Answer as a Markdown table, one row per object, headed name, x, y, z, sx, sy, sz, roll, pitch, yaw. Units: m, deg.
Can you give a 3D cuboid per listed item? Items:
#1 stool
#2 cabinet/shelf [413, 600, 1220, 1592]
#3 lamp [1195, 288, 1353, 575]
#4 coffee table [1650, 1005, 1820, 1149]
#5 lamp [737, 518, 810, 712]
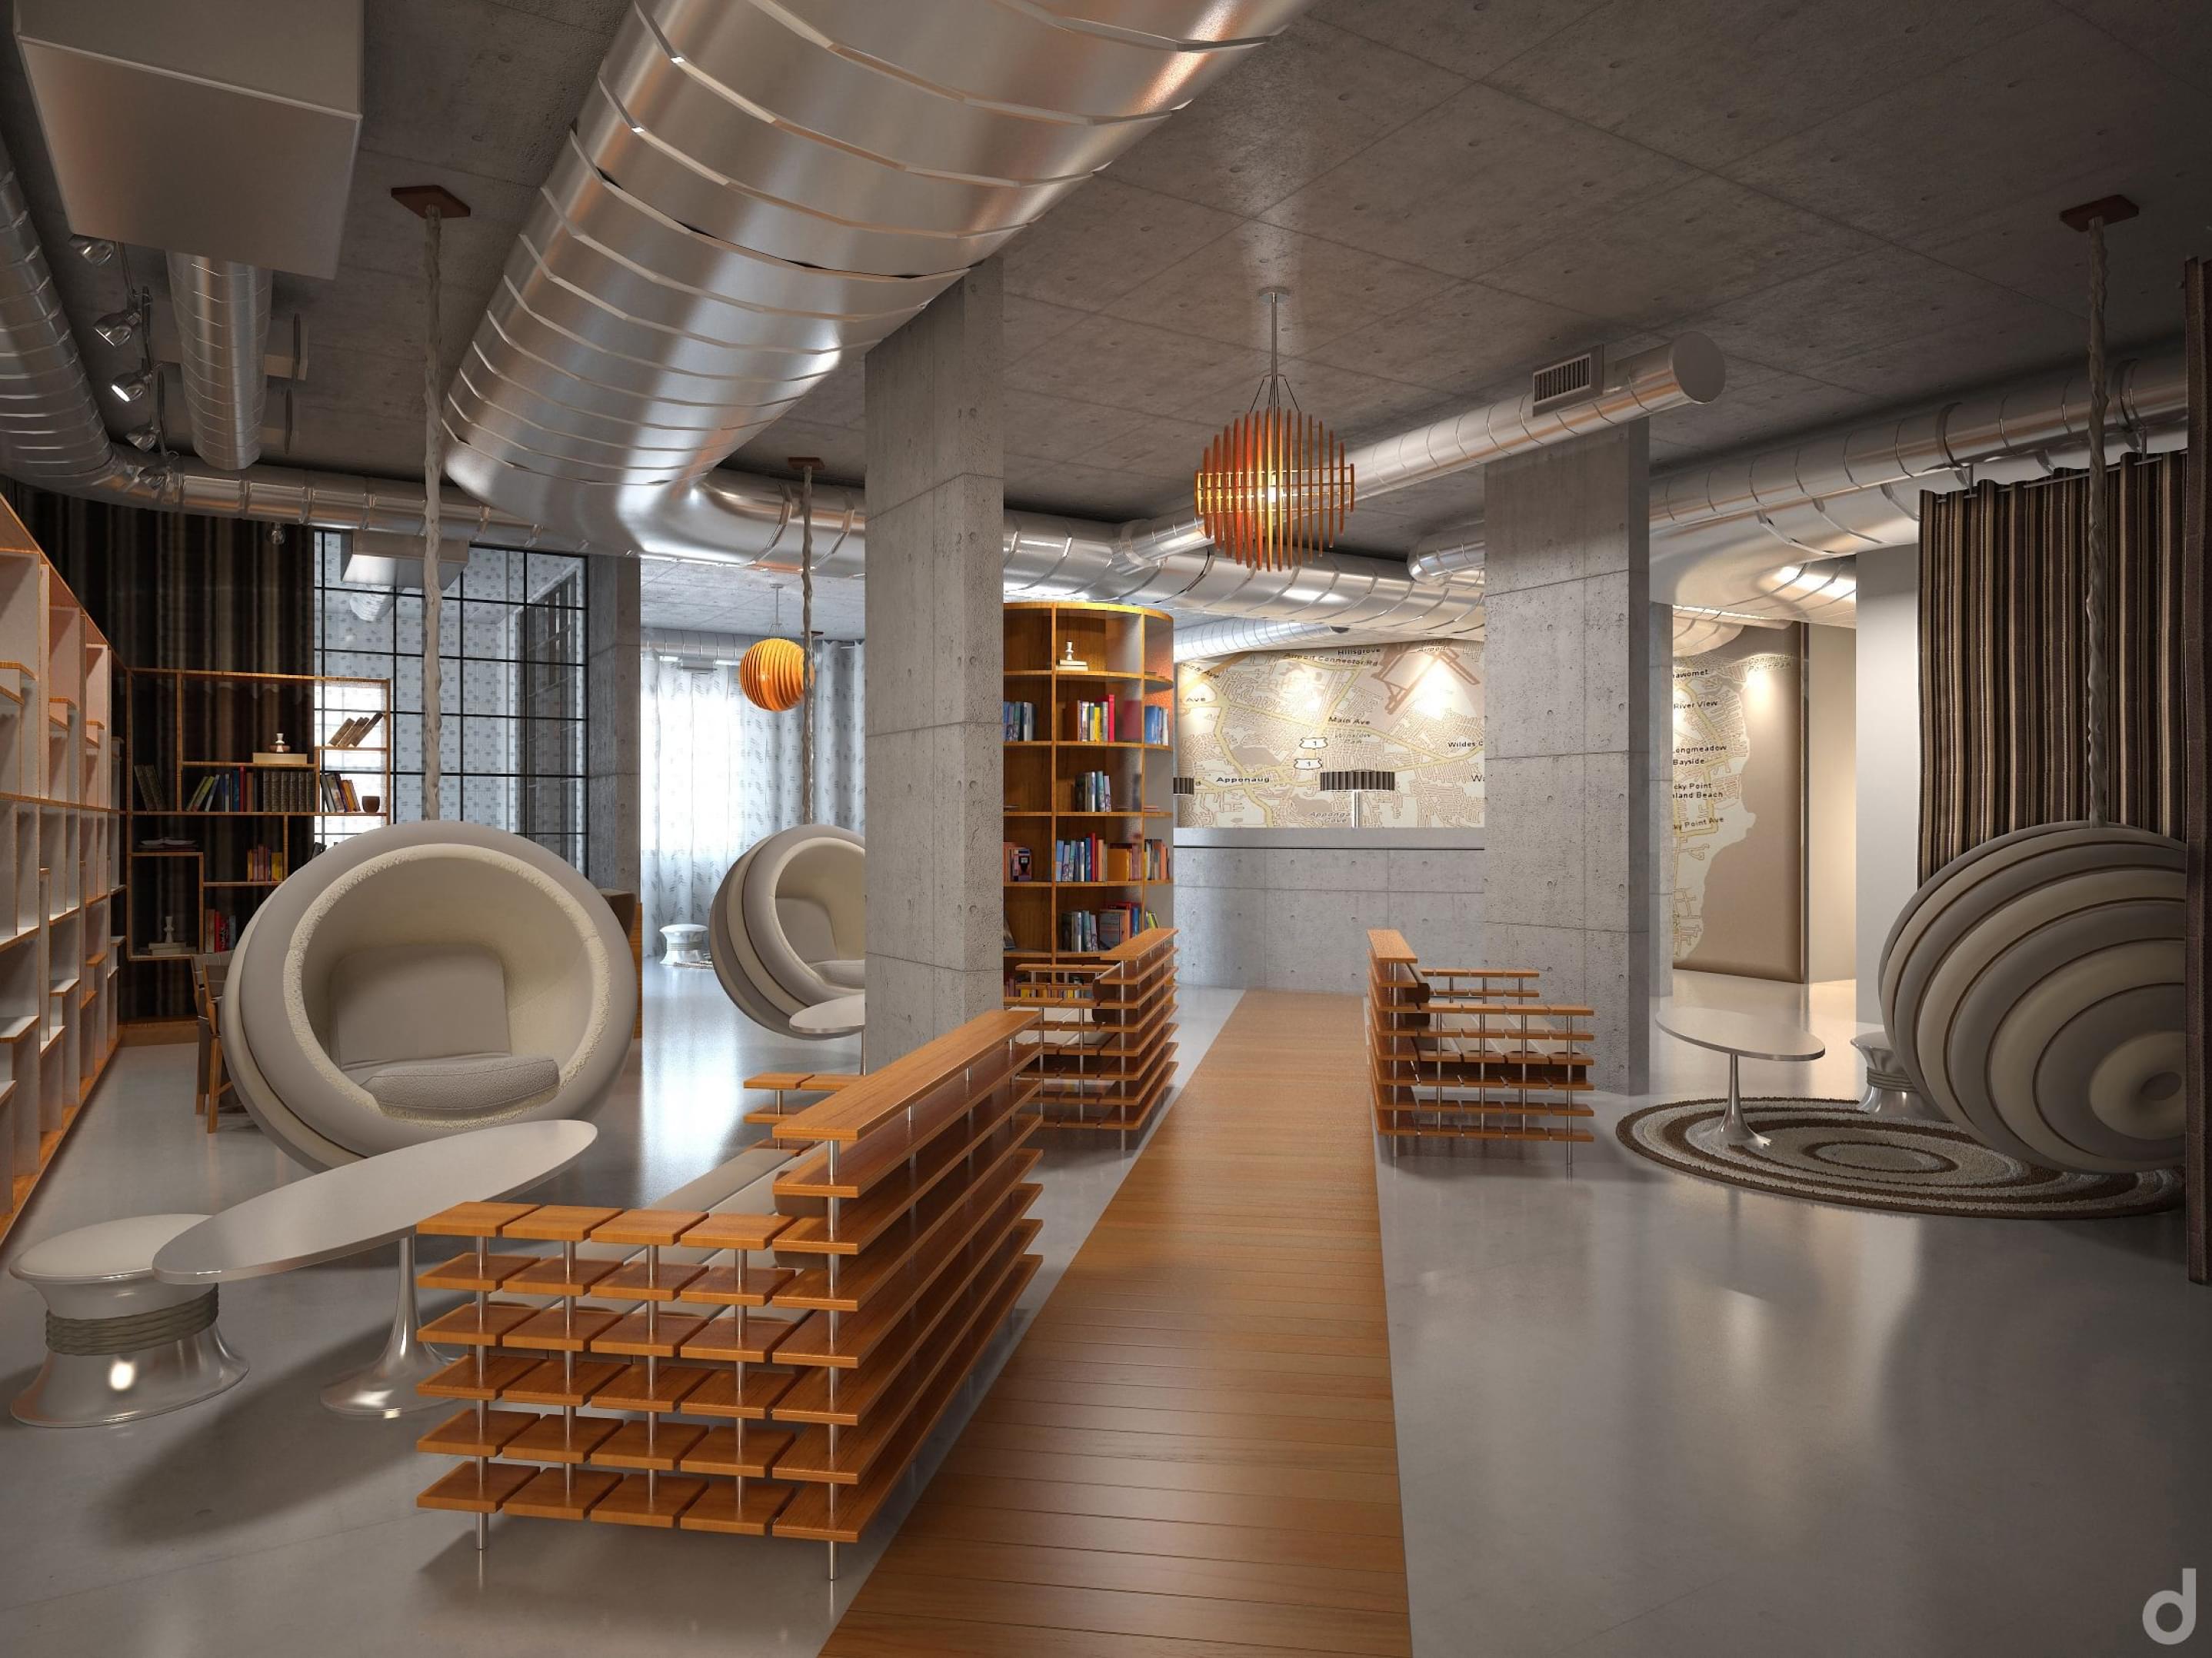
| name | x | y | z | sx | sy | sz | roll | pitch | yaw |
| --- | --- | --- | --- | --- | --- | --- | --- | --- | --- |
| stool | -3.558 | 1.712 | 5.273 | 0.730 | 0.479 | 0.730 | 3 | -5 | -41 |
| cabinet/shelf | -1.420 | 1.023 | 7.141 | 1.173 | 2.283 | 4.515 | 1 | 0 | 10 |
| lamp | 0.962 | -2.391 | 8.345 | 0.748 | 1.729 | 0.762 | -5 | -10 | 39 |
| coffee table | 3.478 | 1.294 | 7.951 | 0.905 | 0.629 | 0.909 | 1 | 0 | -33 |
| lamp | -2.809 | -1.625 | 12.417 | 0.475 | 1.249 | 0.510 | -7 | -14 | 13 |
